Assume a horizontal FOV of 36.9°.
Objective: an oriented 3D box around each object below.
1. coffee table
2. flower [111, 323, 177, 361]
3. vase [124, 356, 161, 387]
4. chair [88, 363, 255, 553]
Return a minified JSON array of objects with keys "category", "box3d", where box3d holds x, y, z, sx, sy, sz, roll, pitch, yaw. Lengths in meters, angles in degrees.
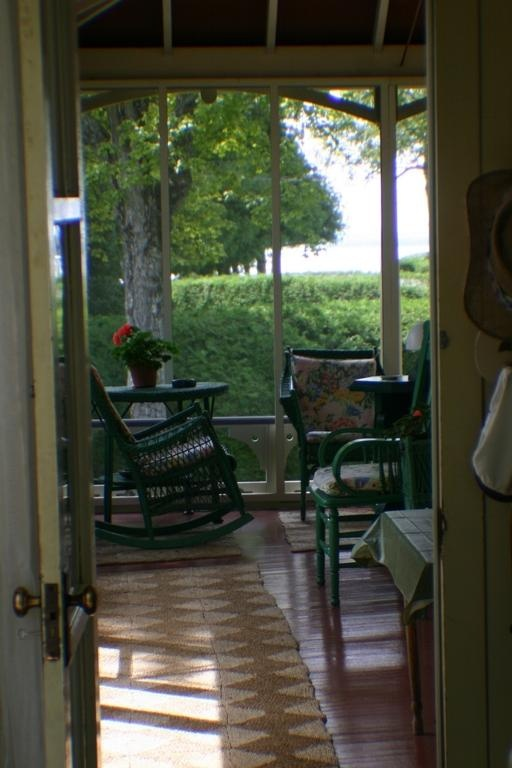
[{"category":"coffee table","box3d":[-0.614,0.420,4.622,1.024,0.785,1.021,-4,-2,-28]},{"category":"flower","box3d":[-0.671,-0.224,4.472,0.258,0.184,0.271,1,8,21]},{"category":"vase","box3d":[-0.654,-0.071,4.450,0.160,0.120,0.162,-1,5,9]},{"category":"chair","box3d":[-0.501,0.350,4.130,0.833,1.002,0.584,-8,6,-22]}]
